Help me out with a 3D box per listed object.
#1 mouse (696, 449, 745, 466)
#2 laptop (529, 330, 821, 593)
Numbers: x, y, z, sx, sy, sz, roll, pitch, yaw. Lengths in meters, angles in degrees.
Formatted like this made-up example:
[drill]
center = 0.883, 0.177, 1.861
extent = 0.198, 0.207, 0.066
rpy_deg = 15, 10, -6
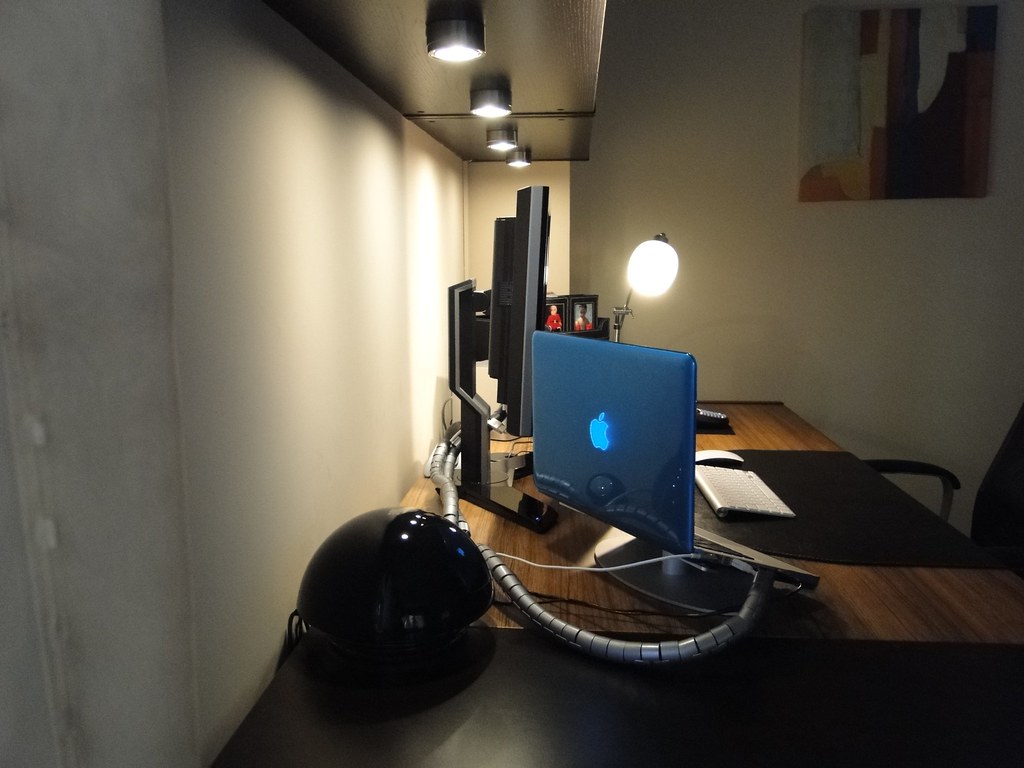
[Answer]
[mouse]
center = 0.584, 0.206, 2.275
extent = 0.112, 0.041, 0.071
rpy_deg = 2, 11, 4
[laptop]
center = 0.294, 0.119, 1.773
extent = 0.347, 0.490, 0.484
rpy_deg = -12, 17, -35
